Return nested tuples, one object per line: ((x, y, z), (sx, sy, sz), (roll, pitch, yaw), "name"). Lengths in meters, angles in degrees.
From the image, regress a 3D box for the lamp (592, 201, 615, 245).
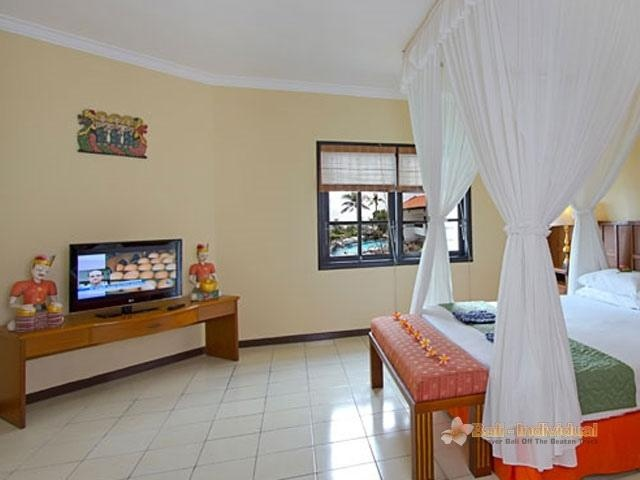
((3.150, -0.196, 5.018), (0.150, 0.405, 0.308), (5, 16, 24), "lamp")
